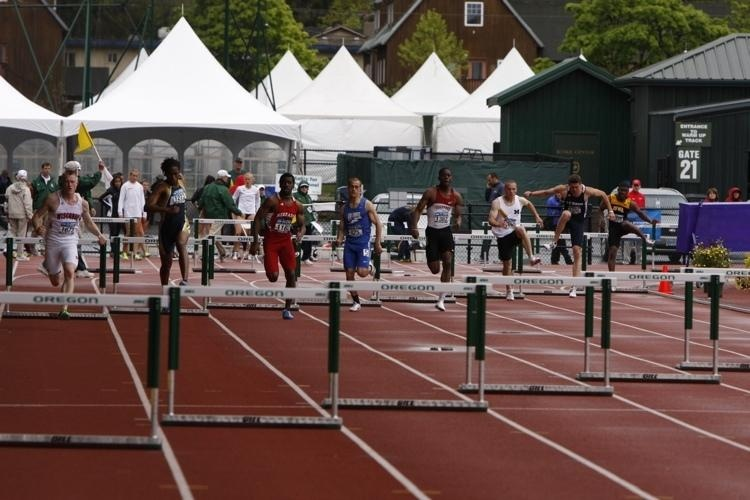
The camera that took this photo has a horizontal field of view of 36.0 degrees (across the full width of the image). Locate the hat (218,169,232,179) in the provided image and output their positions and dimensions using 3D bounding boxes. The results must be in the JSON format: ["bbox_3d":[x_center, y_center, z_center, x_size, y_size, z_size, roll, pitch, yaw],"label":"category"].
[{"bbox_3d":[-3.928,-1.997,30.219,0.391,0.212,0.294,3,9,-36],"label":"hat"}]

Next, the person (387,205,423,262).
[{"bbox_3d":[0.775,-0.445,29.675,0.786,0.659,1.426,0,-12,-5],"label":"person"}]

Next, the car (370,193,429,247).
[{"bbox_3d":[0.551,-0.910,34.247,1.448,1.543,2.850,-9,4,9],"label":"car"}]

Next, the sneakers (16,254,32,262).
[{"bbox_3d":[-9.125,0.176,29.786,0.261,0.283,0.130,-2,11,-19],"label":"sneakers"}]

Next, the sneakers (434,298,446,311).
[{"bbox_3d":[1.278,1.020,21.987,0.119,0.233,0.317,2,-4,-12],"label":"sneakers"}]

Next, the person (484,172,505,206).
[{"bbox_3d":[3.049,-1.582,29.553,0.390,0.475,1.255,11,5,3],"label":"person"}]

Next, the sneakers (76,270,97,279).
[{"bbox_3d":[-6.479,0.544,25.800,0.443,0.230,0.181,2,14,-4],"label":"sneakers"}]

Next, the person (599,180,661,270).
[{"bbox_3d":[5.499,-0.355,25.210,1.207,2.405,0.893,2,13,20],"label":"person"}]

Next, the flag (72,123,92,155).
[{"bbox_3d":[-8.629,-3.315,33.824,0.766,0.980,0.065,-2,2,11],"label":"flag"}]
